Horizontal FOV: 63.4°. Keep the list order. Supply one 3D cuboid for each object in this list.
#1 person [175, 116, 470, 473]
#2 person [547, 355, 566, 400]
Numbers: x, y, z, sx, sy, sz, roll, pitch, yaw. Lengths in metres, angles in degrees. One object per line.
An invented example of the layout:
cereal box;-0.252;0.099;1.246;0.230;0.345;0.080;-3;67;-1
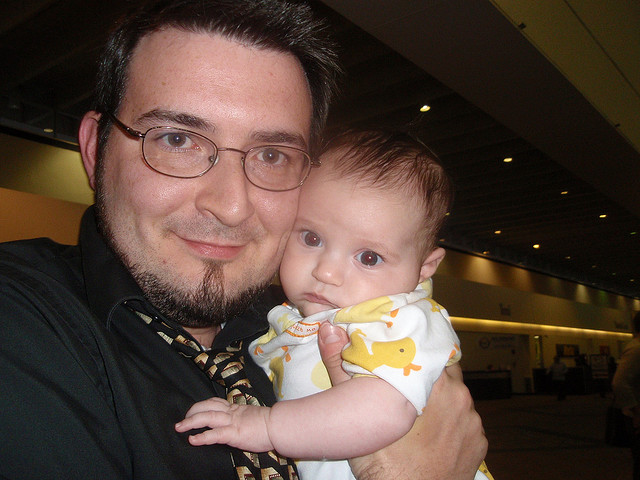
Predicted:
person;-0.085;0.204;2.595;1.266;1.800;1.168;7;-3;-30
person;6.770;3.894;15.180;0.543;1.108;0.333;-3;19;36
